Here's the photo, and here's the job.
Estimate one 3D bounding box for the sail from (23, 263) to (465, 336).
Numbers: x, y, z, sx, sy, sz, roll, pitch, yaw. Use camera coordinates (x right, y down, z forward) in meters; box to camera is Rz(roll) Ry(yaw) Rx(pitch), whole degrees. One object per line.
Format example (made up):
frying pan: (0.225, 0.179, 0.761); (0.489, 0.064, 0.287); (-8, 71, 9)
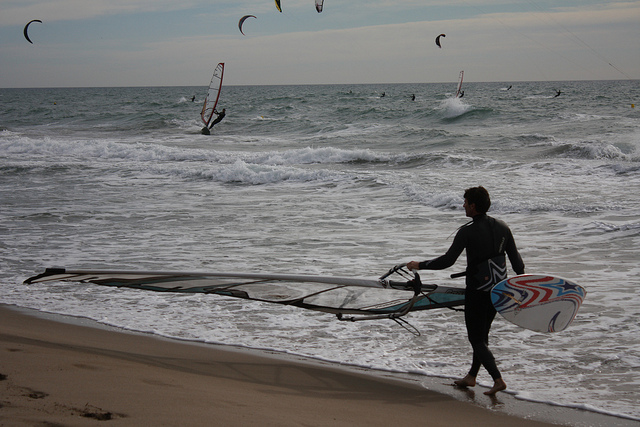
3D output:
sail: (-1.198, 1.355, 11.601); (6.569, 0.432, 1.074); (3, -20, 2)

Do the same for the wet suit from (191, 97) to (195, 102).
wet suit: (-8.226, -7.398, 49.817); (0.373, 0.175, 0.811); (0, -5, -8)

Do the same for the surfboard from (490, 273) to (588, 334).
surfboard: (2.816, 1.173, 10.238); (2.024, 0.700, 0.489); (14, -13, -29)

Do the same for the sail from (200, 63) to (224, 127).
sail: (-4.186, -4.525, 29.754); (0.684, 2.663, 2.688); (-3, 20, -11)
